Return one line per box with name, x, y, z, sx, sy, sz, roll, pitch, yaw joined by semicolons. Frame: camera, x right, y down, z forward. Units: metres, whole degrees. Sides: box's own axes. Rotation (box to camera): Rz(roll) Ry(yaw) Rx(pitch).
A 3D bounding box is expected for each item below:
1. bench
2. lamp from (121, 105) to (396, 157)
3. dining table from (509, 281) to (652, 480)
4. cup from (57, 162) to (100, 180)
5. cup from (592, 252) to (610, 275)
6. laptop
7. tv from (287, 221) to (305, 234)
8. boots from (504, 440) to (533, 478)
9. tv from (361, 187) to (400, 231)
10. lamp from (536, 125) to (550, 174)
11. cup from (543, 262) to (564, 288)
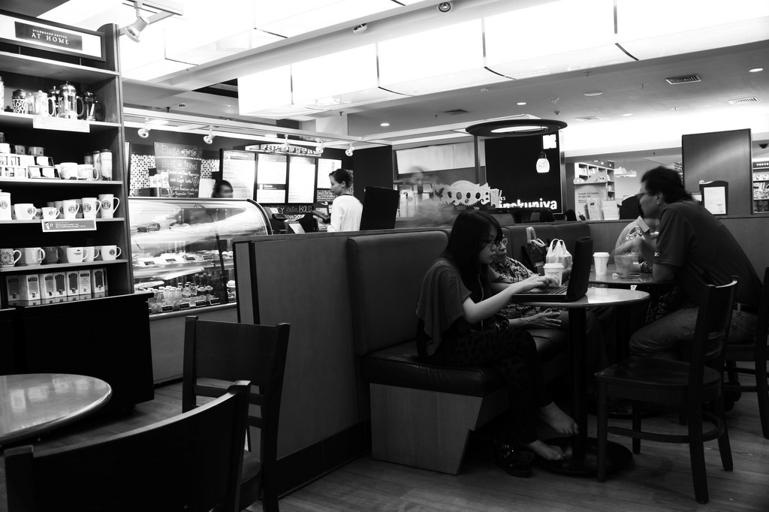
bench;1.069;0.493;4.936;1.831;2.143;1.669;-2;0;25
lamp;-2.443;-1.851;8.932;2.271;0.630;4.279;6;15;35
dining table;1.272;0.802;4.211;1.142;1.214;1.115;-1;-2;3
cup;-2.677;-0.736;5.145;0.274;0.116;0.167;1;-1;-5
cup;1.736;0.056;4.807;0.190;0.181;0.198;2;2;0
laptop;1.131;0.143;3.894;0.424;0.335;0.620;-1;1;23
tv;-1.337;-0.452;9.081;0.207;0.090;1.104;-5;12;-13
boots;0.885;1.376;3.977;0.130;0.104;0.252;-3;8;-25
tv;-0.033;-0.413;5.081;0.362;0.319;0.502;3;2;34
lamp;2.718;-1.661;10.078;0.157;0.480;0.201;-9;14;-23
cup;1.201;0.131;4.150;0.164;0.152;0.164;0;-9;0
